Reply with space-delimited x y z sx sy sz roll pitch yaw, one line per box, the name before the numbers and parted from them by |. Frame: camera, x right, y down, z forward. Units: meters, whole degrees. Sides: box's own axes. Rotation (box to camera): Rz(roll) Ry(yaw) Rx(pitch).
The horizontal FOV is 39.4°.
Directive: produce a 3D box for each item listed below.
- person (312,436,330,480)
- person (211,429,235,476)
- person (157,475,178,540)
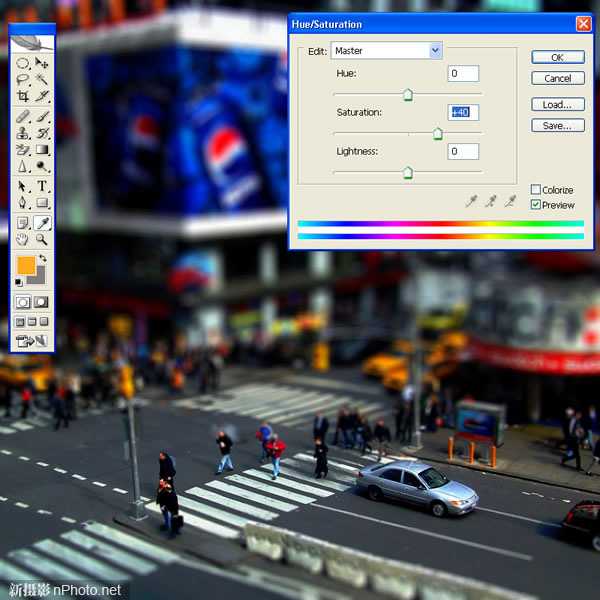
person | 0.728 5.411 29.221 0.479 1.378 1.034 1 9 1
person | -2.667 5.217 29.666 0.607 1.566 1.964 -1 9 -6
person | -3.827 5.928 24.122 0.598 1.494 0.862 -1 9 -7
